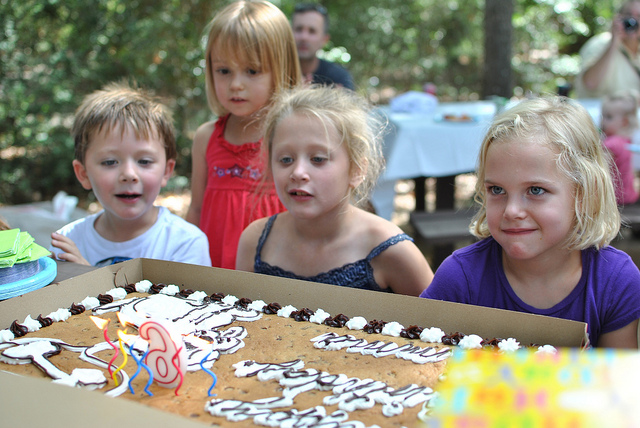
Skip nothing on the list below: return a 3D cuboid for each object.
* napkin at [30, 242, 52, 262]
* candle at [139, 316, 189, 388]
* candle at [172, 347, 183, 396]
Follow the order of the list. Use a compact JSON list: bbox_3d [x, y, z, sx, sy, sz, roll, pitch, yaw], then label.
[{"bbox_3d":[-1.532,0.211,3.682,0.093,0.014,0.100,-15,35,-40],"label":"napkin"},{"bbox_3d":[-0.711,0.630,3.049,0.229,0.292,0.099,1,9,29],"label":"candle"},{"bbox_3d":[-0.627,0.700,2.985,0.044,0.197,0.041,-6,9,-20],"label":"candle"}]
